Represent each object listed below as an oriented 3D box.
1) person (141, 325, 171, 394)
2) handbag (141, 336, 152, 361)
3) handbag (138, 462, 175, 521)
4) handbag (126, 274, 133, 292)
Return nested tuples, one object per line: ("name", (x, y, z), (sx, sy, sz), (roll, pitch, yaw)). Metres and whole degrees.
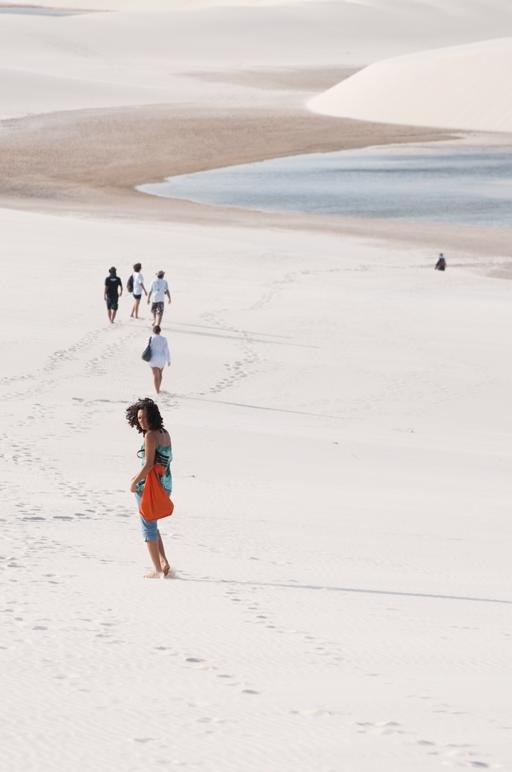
("person", (-1.017, -0.273, 13.358), (0.296, 0.749, 0.235), (-6, 21, -14))
("handbag", (-1.091, -0.358, 13.261), (0.090, 0.252, 0.350), (4, 8, -5))
("handbag", (-0.568, 0.601, 7.513), (0.181, 0.320, 0.112), (4, 7, -6))
("handbag", (-1.739, -1.384, 17.941), (0.075, 0.231, 0.161), (4, 21, 11))
